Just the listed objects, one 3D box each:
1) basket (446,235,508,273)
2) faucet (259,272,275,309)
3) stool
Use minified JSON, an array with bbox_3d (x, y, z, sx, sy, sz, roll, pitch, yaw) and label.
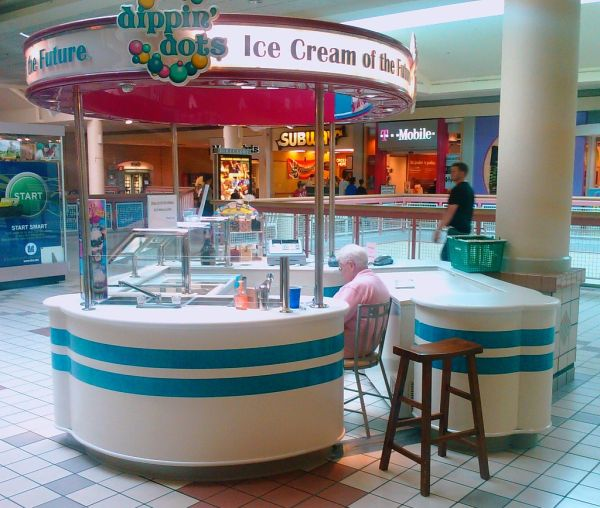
[{"bbox_3d":[1.664,-0.005,4.604,0.320,0.336,0.555,-1,6,-8],"label":"basket"},{"bbox_3d":[-0.222,0.230,3.082,0.087,0.203,0.220,-1,7,-3],"label":"faucet"},{"bbox_3d":[0.834,0.960,2.946,0.591,0.752,0.479,1,-1,-18],"label":"stool"}]
